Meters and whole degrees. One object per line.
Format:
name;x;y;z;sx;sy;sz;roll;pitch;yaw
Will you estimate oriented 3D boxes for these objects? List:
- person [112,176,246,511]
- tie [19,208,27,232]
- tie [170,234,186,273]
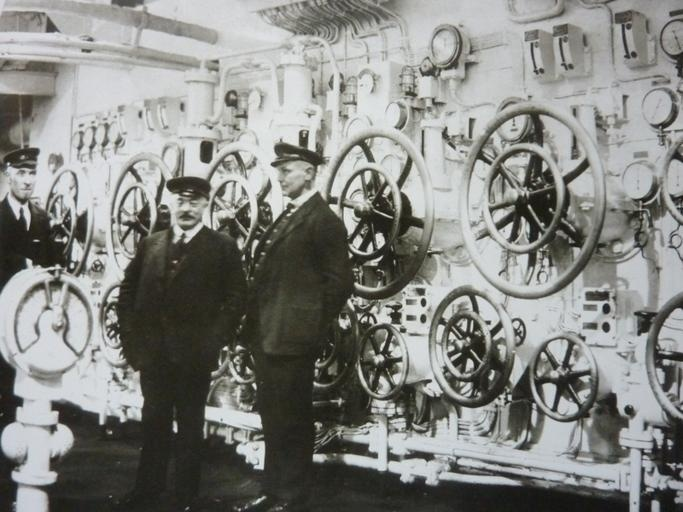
person;-0.967;0.517;6.101;0.874;2.045;0.313;-4;-9;37
tie;-2.170;-0.245;6.946;0.028;0.159;0.039;-5;-4;9
tie;-0.987;-0.015;6.122;0.043;0.186;0.132;6;5;-16
